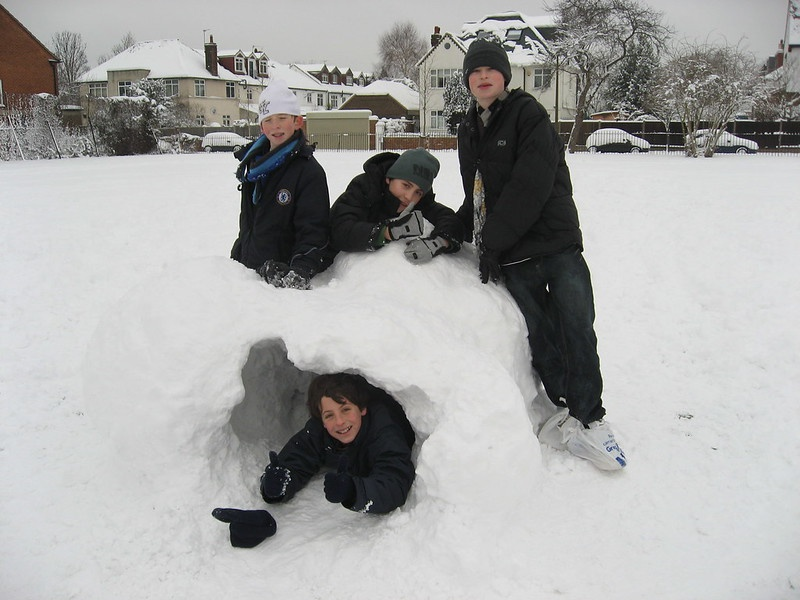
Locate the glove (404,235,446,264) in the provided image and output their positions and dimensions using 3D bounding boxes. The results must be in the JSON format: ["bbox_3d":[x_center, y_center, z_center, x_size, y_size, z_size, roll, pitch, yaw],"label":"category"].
[{"bbox_3d":[0.141,-0.297,3.772,0.207,0.150,0.062,-18,-20,-30],"label":"glove"}]

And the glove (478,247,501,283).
[{"bbox_3d":[0.518,-0.196,3.737,0.046,0.186,0.140,-1,21,-15],"label":"glove"}]

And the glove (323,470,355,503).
[{"bbox_3d":[-0.332,0.972,3.282,0.172,0.190,0.125,-2,12,-31],"label":"glove"}]

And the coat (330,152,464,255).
[{"bbox_3d":[-0.054,-0.691,4.133,0.808,0.679,1.176,1,15,-17],"label":"coat"}]

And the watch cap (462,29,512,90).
[{"bbox_3d":[0.532,-1.487,3.817,0.251,0.292,0.296,1,-7,8],"label":"watch cap"}]

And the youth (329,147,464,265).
[{"bbox_3d":[-0.039,-0.603,3.891,0.592,0.521,0.820,-4,12,-29],"label":"youth"}]

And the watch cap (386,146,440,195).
[{"bbox_3d":[0.065,-0.811,3.953,0.224,0.254,0.304,31,-4,-24],"label":"watch cap"}]

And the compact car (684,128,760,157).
[{"bbox_3d":[11.987,-5.625,22.890,2.867,1.134,1.886,3,12,17],"label":"compact car"}]

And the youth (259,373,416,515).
[{"bbox_3d":[-0.362,0.896,3.704,0.787,0.834,1.157,-5,4,8],"label":"youth"}]

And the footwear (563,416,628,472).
[{"bbox_3d":[1.125,0.829,3.661,0.353,0.150,0.232,24,40,17],"label":"footwear"}]

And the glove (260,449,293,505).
[{"bbox_3d":[-0.688,1.009,3.466,0.192,0.290,0.116,-3,5,-16],"label":"glove"}]

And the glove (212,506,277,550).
[{"bbox_3d":[-0.792,1.162,3.184,0.277,0.202,0.074,-4,11,-14],"label":"glove"}]

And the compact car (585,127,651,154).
[{"bbox_3d":[8.748,-6.405,25.383,1.929,0.981,1.400,1,22,10],"label":"compact car"}]

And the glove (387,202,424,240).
[{"bbox_3d":[0.025,-0.445,3.793,0.198,0.150,0.091,-9,-9,3],"label":"glove"}]

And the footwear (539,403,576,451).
[{"bbox_3d":[0.946,0.781,3.776,0.112,0.210,0.158,21,29,-54],"label":"footwear"}]

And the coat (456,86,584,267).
[{"bbox_3d":[0.704,-0.721,3.761,0.822,1.033,0.536,8,18,16],"label":"coat"}]

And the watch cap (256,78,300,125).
[{"bbox_3d":[-0.818,-1.285,4.045,0.277,0.261,0.215,-1,14,25],"label":"watch cap"}]

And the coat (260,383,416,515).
[{"bbox_3d":[-0.310,0.821,3.592,0.612,0.612,0.838,-5,6,23],"label":"coat"}]

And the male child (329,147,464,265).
[{"bbox_3d":[-0.070,-0.590,3.895,0.592,0.521,0.820,-4,12,-29],"label":"male child"}]
